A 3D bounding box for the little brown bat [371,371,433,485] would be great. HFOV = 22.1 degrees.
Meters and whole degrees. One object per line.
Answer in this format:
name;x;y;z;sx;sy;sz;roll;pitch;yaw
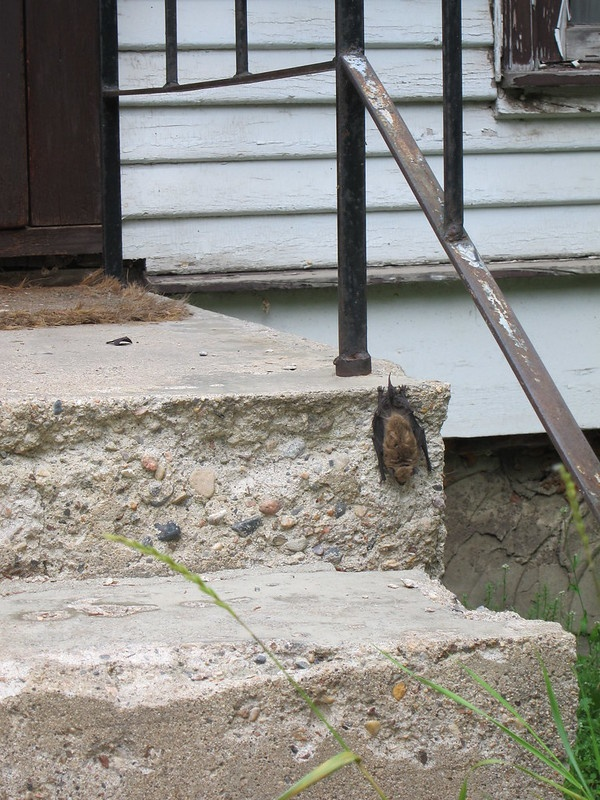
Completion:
little brown bat;0.218;0.065;3.394;0.129;0.232;0.070;-5;-10;-3
